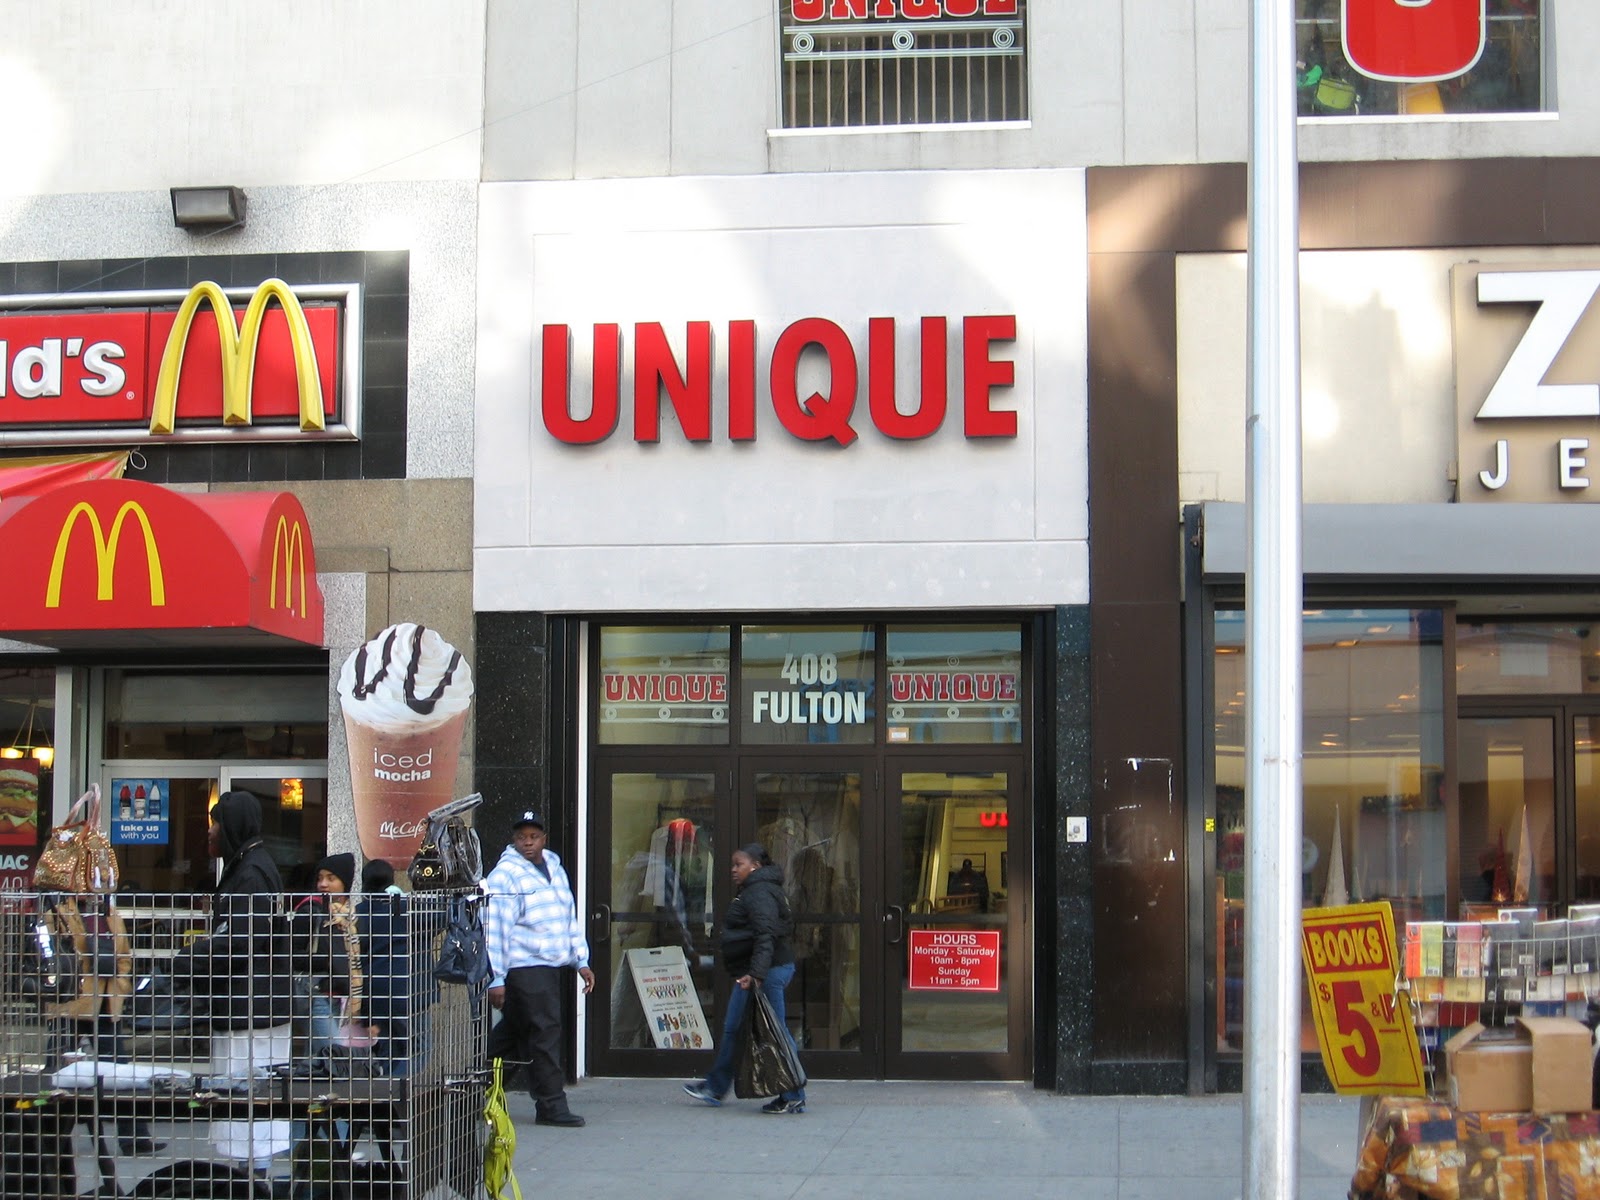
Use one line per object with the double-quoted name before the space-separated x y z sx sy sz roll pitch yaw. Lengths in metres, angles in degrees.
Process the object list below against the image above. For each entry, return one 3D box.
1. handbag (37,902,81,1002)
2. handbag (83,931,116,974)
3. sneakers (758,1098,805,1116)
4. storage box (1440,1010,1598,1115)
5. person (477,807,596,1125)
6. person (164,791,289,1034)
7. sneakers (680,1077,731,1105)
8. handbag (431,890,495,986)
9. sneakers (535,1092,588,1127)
"handbag" -4.739 2.272 18.786 0.279 0.595 0.129 0 -4 4
"handbag" -4.468 2.258 18.664 0.257 0.261 0.095 -6 -6 37
"sneakers" -0.146 3.910 22.531 0.246 0.114 0.143 5 -7 -8
"storage box" 4.575 3.003 18.858 0.652 0.521 0.670 0 -2 2
"person" -2.023 2.793 22.085 0.841 2.394 0.537 0 -5 -27
"person" -3.675 2.007 18.899 0.725 1.513 0.938 -1 -5 -13
"sneakers" -0.753 3.864 22.986 0.382 0.216 0.146 5 -8 29
"handbag" -2.257 2.272 19.160 0.406 0.828 0.765 2 -12 1
"sneakers" -1.773 3.877 22.122 0.446 0.224 0.169 -2 -3 20
